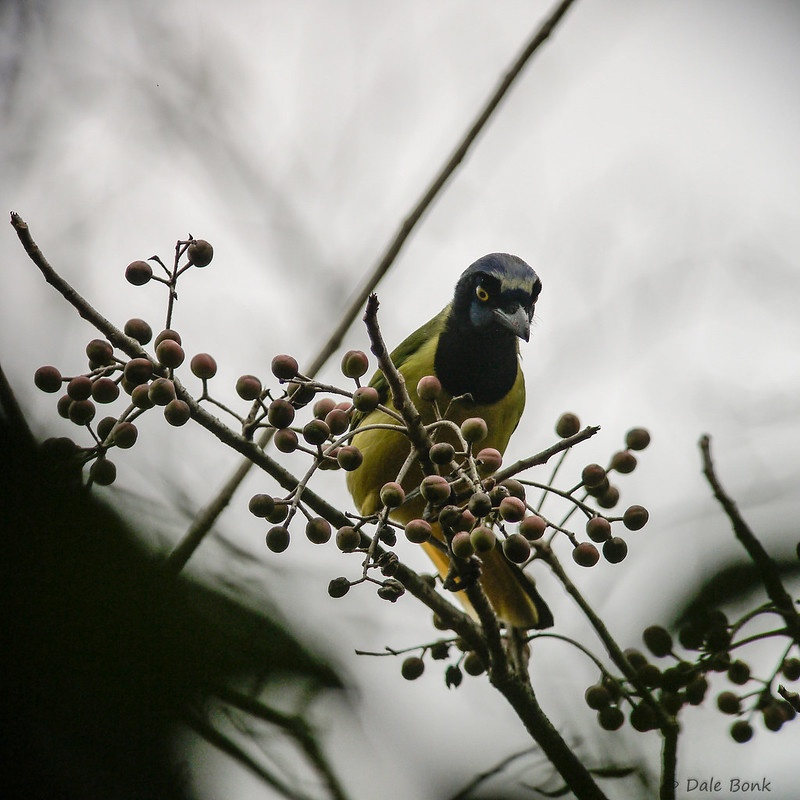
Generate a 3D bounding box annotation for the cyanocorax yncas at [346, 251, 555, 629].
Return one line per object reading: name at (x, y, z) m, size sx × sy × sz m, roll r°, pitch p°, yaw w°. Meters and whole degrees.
cyanocorax yncas at (0.152, 0.232, 4.971) m, size 0.402 × 0.774 × 1.364 m, roll 8°, pitch -50°, yaw -18°
